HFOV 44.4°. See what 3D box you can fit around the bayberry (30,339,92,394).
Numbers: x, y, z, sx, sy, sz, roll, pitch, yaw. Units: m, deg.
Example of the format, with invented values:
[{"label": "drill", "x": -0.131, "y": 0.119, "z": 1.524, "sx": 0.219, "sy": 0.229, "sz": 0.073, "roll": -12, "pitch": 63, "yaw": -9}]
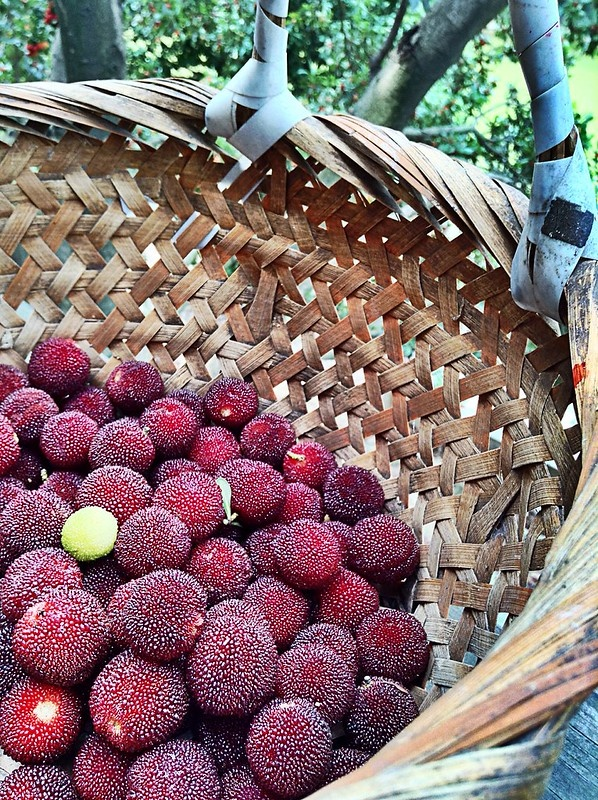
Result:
[{"label": "bayberry", "x": -0.277, "y": -0.039, "z": 0.837, "sx": 0.065, "sy": 0.063, "sz": 0.038, "roll": -3, "pitch": 2, "yaw": -9}]
